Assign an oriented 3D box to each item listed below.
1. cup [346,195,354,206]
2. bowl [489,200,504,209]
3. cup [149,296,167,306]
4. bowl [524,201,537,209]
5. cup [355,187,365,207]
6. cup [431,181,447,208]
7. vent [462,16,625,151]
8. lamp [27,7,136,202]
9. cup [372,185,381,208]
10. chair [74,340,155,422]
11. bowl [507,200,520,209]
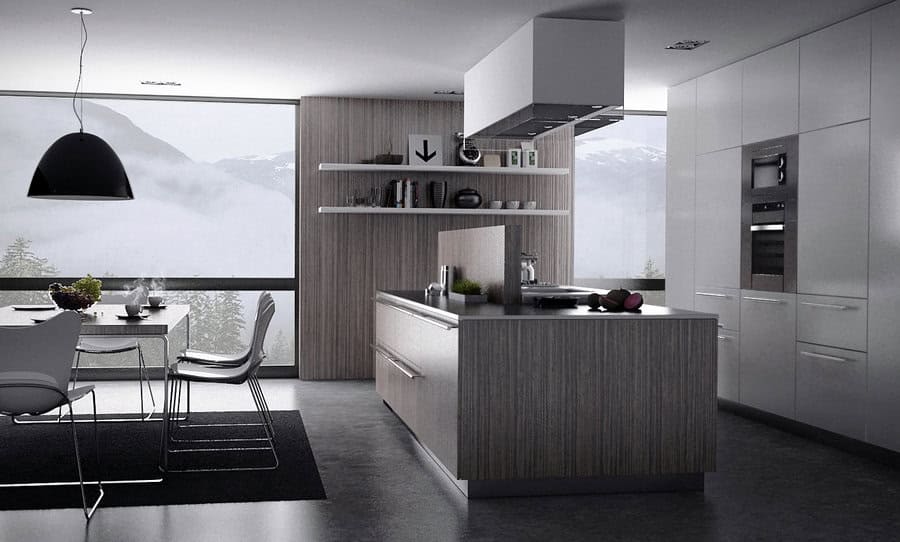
[{"bbox_3d":[-1.271,-0.895,8.108,0.121,0.144,0.156,0,-1,-16],"label":"cup"},{"bbox_3d":[0.608,-0.858,8.337,0.134,0.084,0.126,0,-4,0],"label":"bowl"},{"bbox_3d":[-2.941,0.302,6.440,0.099,0.074,0.119,4,5,25],"label":"cup"},{"bbox_3d":[1.072,-0.866,8.449,0.129,0.085,0.116,0,1,-37],"label":"bowl"},{"bbox_3d":[-1.138,-0.935,8.126,0.122,0.214,0.201,0,7,-8],"label":"cup"},{"bbox_3d":[-0.124,-0.992,8.266,0.250,0.343,0.195,-1,7,-14],"label":"cup"},{"bbox_3d":[0.848,-1.839,6.171,0.859,0.957,1.519,-4,8,-33],"label":"vent"},{"bbox_3d":[-3.783,-1.574,6.560,0.833,1.694,2.097,-3,7,-27],"label":"lamp"},{"bbox_3d":[-0.940,-0.957,8.169,0.124,0.248,0.178,0,7,-7],"label":"cup"},{"bbox_3d":[-3.812,1.260,7.195,0.904,1.048,0.627,3,-19,-13],"label":"chair"},{"bbox_3d":[0.833,-0.861,8.349,0.133,0.076,0.125,0,-2,0],"label":"bowl"}]
